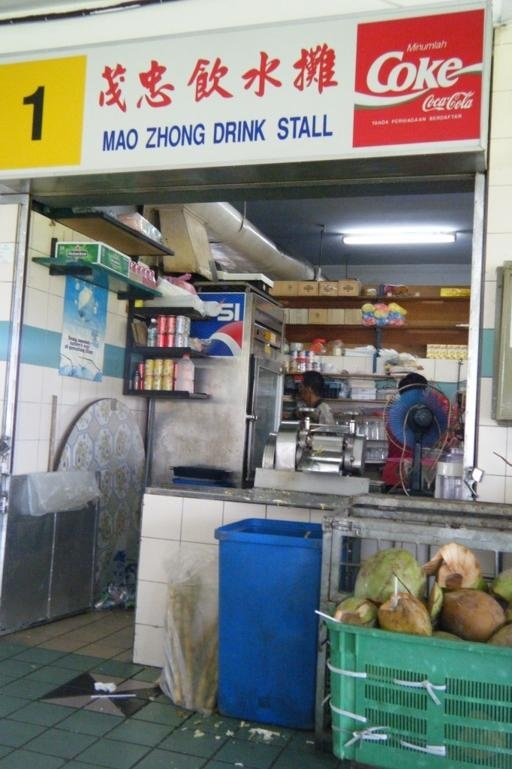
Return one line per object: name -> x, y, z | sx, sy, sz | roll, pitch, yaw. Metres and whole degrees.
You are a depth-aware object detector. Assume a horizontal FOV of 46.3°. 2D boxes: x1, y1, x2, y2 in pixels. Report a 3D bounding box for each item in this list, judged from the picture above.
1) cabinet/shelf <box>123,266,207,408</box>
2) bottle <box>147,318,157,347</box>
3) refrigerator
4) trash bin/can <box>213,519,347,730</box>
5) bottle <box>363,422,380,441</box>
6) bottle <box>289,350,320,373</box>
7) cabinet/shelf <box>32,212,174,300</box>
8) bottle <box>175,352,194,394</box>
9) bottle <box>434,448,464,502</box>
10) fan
cabinet/shelf -> -0.700, -0.299, 4.370 | 0.447, 0.791, 0.469 | 4, -2, -15
bottle -> -0.763, -0.374, 4.406 | 0.102, 0.229, 0.058 | -4, -10, 40
refrigerator -> -0.229, 0.159, 5.042 | 0.600, 1.709, 0.927 | 6, -5, 16
trash bin/can -> 0.097, 0.942, 2.520 | 0.542, 0.807, 0.529 | 5, 8, 34
bottle -> 1.329, 0.539, 6.762 | 0.196, 0.228, 0.314 | 2, -7, 7
bottle -> 0.588, -0.263, 7.457 | 0.302, 0.234, 0.305 | 2, -6, 0
cabinet/shelf -> -0.995, -0.844, 3.970 | 0.445, 0.433, 0.982 | 1, -8, 15
bottle -> -0.526, -0.065, 4.410 | 0.138, 0.281, 0.109 | 5, -8, -14
bottle -> 0.863, 0.427, 2.675 | 0.119, 0.164, 0.093 | 1, -8, 17
fan -> 0.976, 0.286, 3.658 | 0.346, 0.737, 1.075 | 1, -8, 14
